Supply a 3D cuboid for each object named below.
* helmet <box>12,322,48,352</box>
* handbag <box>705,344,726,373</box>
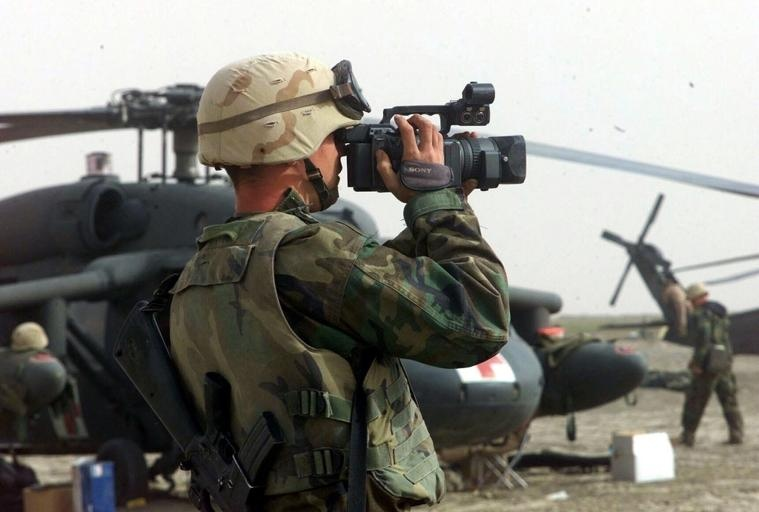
[{"bbox_3d":[-3.718,0.864,12.478,0.271,0.374,0.199,10,-19,-18],"label":"helmet"},{"bbox_3d":[4.078,1.230,14.218,0.278,0.347,0.301,-2,7,3],"label":"handbag"}]
